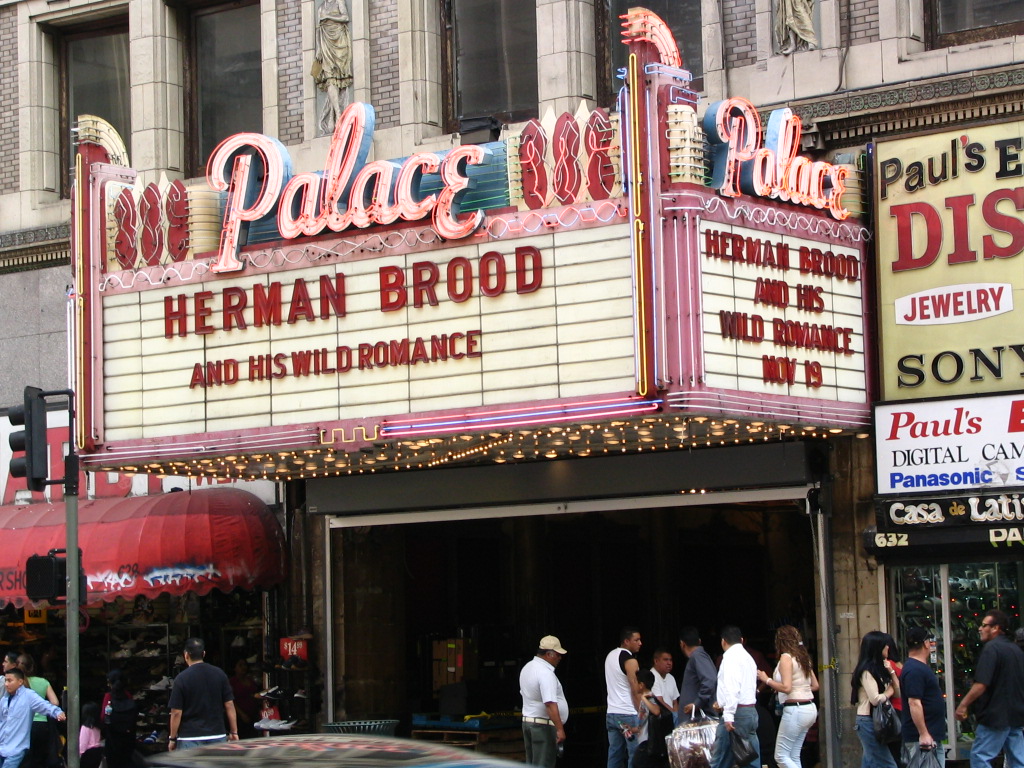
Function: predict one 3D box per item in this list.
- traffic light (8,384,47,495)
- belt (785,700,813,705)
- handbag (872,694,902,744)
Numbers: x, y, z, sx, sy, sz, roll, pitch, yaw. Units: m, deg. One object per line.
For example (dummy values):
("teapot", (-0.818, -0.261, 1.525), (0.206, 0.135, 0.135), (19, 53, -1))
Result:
("traffic light", (-6.036, 0.690, 22.389), (0.430, 1.326, 1.073), (-2, -6, -16))
("belt", (3.415, 3.820, 21.177), (0.341, 0.061, 0.099), (-2, -7, -15))
("handbag", (4.291, 3.934, 20.456), (0.300, 0.484, 0.227), (0, -6, -27))
